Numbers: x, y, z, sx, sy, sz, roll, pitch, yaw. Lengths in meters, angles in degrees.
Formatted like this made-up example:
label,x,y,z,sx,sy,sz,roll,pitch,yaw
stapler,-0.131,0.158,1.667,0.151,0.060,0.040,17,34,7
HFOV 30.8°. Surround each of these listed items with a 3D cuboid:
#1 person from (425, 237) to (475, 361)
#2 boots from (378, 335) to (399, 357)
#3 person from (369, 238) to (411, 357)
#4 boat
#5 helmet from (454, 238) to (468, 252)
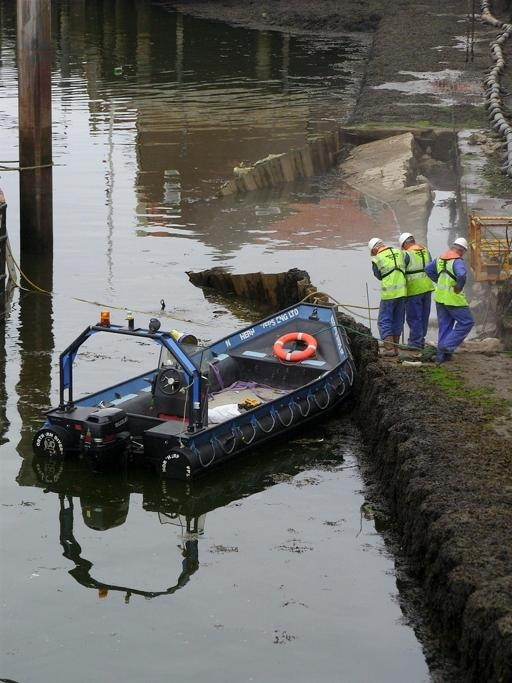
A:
label,x,y,z,sx,sy,sz,roll,pitch,yaw
person,2.695,-0.588,12.896,0.649,1.648,1.000,2,14,7
boots,1.925,0.066,13.354,0.186,0.272,0.453,-6,-7,4
person,1.890,-0.642,13.310,0.554,1.604,0.812,2,14,7
boat,-0.413,0.645,11.541,2.067,1.232,3.696,14,23,40
helmet,2.824,-1.323,12.842,0.178,0.175,0.217,1,12,2
